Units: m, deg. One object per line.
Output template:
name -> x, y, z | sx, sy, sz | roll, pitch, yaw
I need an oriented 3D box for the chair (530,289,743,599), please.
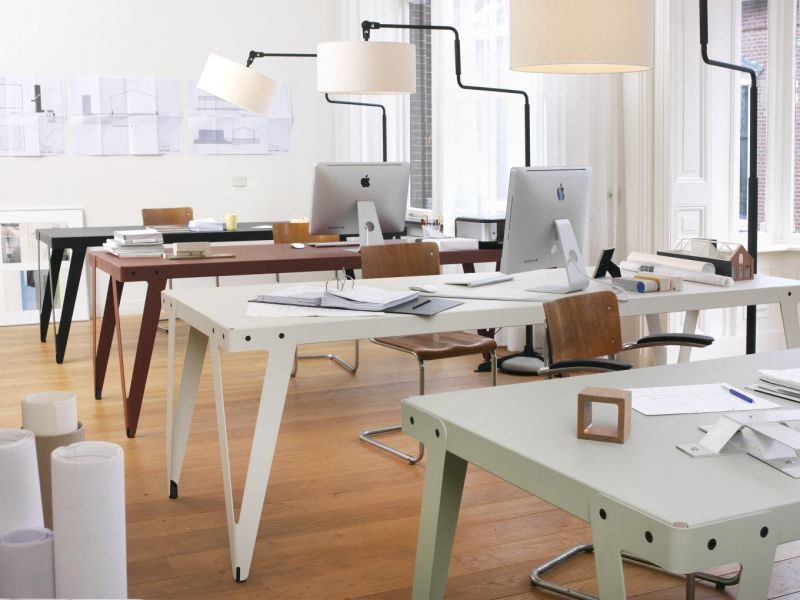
chair -> 0.779, 0.405, 2.824 | 0.826, 1.378, 0.885 | -5, 6, -37

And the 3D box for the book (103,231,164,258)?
book -> -1.481, -0.314, 3.877 | 0.246, 0.131, 0.346 | -8, 14, -33

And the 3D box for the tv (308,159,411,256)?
tv -> -0.195, -0.536, 3.884 | 0.565, 0.448, 0.272 | -4, 17, -21

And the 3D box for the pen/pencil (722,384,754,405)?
pen/pencil -> 0.832, 0.235, 1.721 | 0.012, 0.013, 0.090 | 38, 1, -31

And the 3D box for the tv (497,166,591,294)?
tv -> 0.702, -0.301, 3.002 | 0.502, 0.538, 0.242 | -8, 13, -35

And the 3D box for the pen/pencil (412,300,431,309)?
pen/pencil -> 0.079, 0.021, 2.638 | 0.008, 0.015, 0.104 | 17, 17, 16
